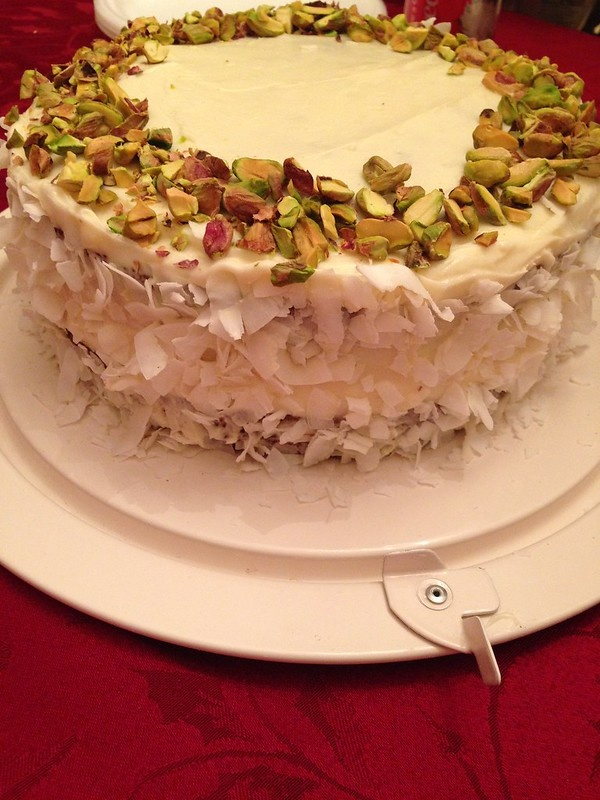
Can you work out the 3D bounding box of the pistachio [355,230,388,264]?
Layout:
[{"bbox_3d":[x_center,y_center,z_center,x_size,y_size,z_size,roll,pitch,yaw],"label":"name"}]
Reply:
[{"bbox_3d":[0.071,-0.154,0.789,0.032,0.016,0.045,-16,44,-25],"label":"pistachio"}]

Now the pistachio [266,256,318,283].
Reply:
[{"bbox_3d":[-0.009,-0.117,0.736,0.029,0.007,0.028,19,44,34],"label":"pistachio"}]

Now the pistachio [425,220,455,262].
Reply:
[{"bbox_3d":[0.140,-0.159,0.801,0.037,0.018,0.036,10,84,-40],"label":"pistachio"}]

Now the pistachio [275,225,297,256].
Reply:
[{"bbox_3d":[-0.013,-0.154,0.777,0.021,0.008,0.030,-16,72,-3],"label":"pistachio"}]

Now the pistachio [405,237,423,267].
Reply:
[{"bbox_3d":[0.115,-0.147,0.787,0.020,0.006,0.025,4,63,1],"label":"pistachio"}]

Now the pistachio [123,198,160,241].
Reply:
[{"bbox_3d":[-0.152,-0.180,0.798,0.034,0.014,0.038,-2,66,-15],"label":"pistachio"}]

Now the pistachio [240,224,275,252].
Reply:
[{"bbox_3d":[-0.038,-0.160,0.783,0.033,0.013,0.043,11,39,6],"label":"pistachio"}]

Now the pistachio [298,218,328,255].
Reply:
[{"bbox_3d":[0.010,-0.162,0.798,0.024,0.011,0.040,-24,67,-21],"label":"pistachio"}]
